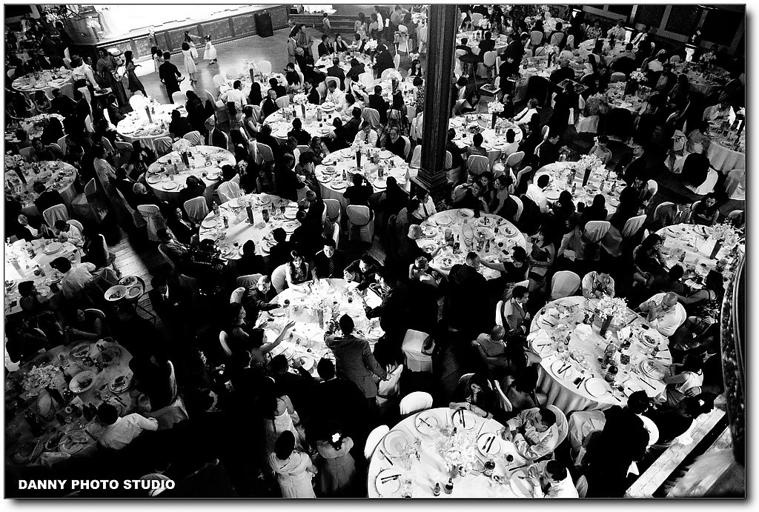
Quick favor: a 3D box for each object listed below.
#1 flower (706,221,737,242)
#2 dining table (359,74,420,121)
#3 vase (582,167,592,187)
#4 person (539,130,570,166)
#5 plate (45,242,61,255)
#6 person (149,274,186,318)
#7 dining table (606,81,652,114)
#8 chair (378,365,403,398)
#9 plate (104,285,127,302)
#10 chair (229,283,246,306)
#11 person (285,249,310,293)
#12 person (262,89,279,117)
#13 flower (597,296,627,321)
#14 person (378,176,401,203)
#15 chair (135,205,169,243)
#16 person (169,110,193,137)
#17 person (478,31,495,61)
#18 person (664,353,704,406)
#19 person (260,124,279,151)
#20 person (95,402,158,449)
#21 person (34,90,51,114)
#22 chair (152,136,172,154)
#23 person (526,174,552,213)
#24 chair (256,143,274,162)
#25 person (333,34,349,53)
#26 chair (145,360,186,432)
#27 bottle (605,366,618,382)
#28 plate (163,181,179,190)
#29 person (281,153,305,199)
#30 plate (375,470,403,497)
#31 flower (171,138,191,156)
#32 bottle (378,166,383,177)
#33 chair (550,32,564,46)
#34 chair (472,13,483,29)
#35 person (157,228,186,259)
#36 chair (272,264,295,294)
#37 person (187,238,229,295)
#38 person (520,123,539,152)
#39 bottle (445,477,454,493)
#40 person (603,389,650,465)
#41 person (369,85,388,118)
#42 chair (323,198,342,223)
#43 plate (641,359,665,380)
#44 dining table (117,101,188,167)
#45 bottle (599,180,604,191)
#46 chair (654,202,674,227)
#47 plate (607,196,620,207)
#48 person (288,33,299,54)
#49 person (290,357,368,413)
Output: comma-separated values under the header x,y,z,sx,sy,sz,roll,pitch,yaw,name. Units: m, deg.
x,y,z,sx,sy,sz,roll,pitch,yaw,name
7.918,-0.521,12.476,0.479,0.488,0.204,21,3,31,flower
0.322,-5.236,19.088,2.177,0.751,2.079,4,50,6,dining table
5.351,-2.094,14.034,0.157,0.462,0.510,10,33,19,vase
5.029,-3.121,15.753,0.490,0.589,1.582,28,-2,13,person
-7.694,-0.177,12.715,0.284,0.094,0.283,33,50,32,plate
-4.614,0.864,11.761,0.679,0.926,0.500,-14,33,-19,person
8.242,-5.247,18.004,1.376,0.584,1.852,11,34,21,dining table
0.181,2.516,10.934,0.456,0.631,0.461,-26,56,-21,chair
-5.810,0.862,11.922,0.486,0.213,0.537,-16,34,-21,plate
-3.169,0.873,11.750,0.251,0.353,0.357,30,33,-34,chair
-1.873,0.370,12.172,0.548,1.241,0.616,-8,68,-8,person
-3.545,-4.948,17.652,0.339,1.146,0.423,13,47,5,person
4.737,1.034,11.034,0.461,0.406,0.456,14,61,31,flower
0.247,-1.676,13.864,0.508,0.716,0.211,1,8,10,person
-5.795,-0.778,13.911,0.748,1.221,0.391,13,34,23,chair
-6.068,-3.982,16.445,0.477,1.138,0.656,-20,74,-15,person
4.196,-8.201,21.349,0.631,0.941,0.997,3,32,9,person
5.800,2.279,10.482,0.790,0.831,0.312,-38,28,-6,person
-3.247,-3.428,15.742,0.548,0.738,1.138,-8,32,-9,person
-4.835,3.219,10.221,0.635,1.182,0.449,-28,83,-17,person
-11.854,-5.426,18.983,0.481,0.555,1.058,-20,35,-26,person
-6.614,-3.379,16.637,0.545,0.696,0.536,-2,66,-14,chair
4.123,-1.633,14.047,0.294,0.720,0.991,18,60,-41,person
-3.372,-3.024,15.864,0.442,0.586,0.507,13,64,2,chair
-1.612,-8.733,22.081,0.535,0.644,1.350,-5,31,-4,person
-4.219,2.886,11.128,0.885,0.449,1.238,-6,64,17,chair
4.534,2.293,10.583,0.195,0.209,0.324,18,37,30,bottle
-5.553,-1.849,14.352,0.253,0.035,0.253,32,48,33,plate
-2.380,-2.109,14.516,0.659,1.203,0.588,-25,37,-32,person
0.148,4.014,9.595,0.474,0.211,0.374,-1,31,3,plate
-5.586,-3.087,15.202,0.485,0.250,0.506,-28,56,-27,flower
0.025,-2.310,14.608,0.156,0.253,0.399,-1,31,3,bottle
7.132,-8.744,21.857,0.498,0.450,0.298,8,32,16,chair
4.352,-10.537,24.364,0.586,0.822,0.684,2,28,8,chair
-4.892,-0.252,12.731,0.613,0.803,0.337,33,73,15,person
-2.183,0.526,12.293,0.420,0.477,0.456,-28,85,-7,chair
-3.765,0.260,12.092,0.873,1.255,0.450,25,28,16,person
4.398,-3.444,15.746,0.185,0.757,0.789,17,14,-12,person
1.222,4.033,9.560,0.121,0.211,0.221,5,42,6,bottle
4.540,3.168,9.939,0.839,1.200,0.676,-16,33,-21,person
-0.017,-4.928,17.468,0.623,0.930,1.120,-12,32,-16,person
-1.230,-1.134,13.959,0.494,0.613,0.530,5,56,-2,chair
5.373,2.217,10.645,0.491,0.193,0.388,16,36,28,plate
-7.261,-4.236,16.993,2.151,0.576,2.200,1,54,-13,dining table
5.723,-1.814,14.034,0.098,0.109,0.392,17,54,17,bottle
7.119,-1.031,13.564,0.446,0.625,0.305,9,8,13,chair
5.833,-1.354,13.605,0.298,0.146,0.345,6,32,14,plate
-3.609,-8.860,22.660,0.352,0.466,1.083,-25,-3,-8,person
-1.055,2.583,10.673,1.517,1.031,0.549,10,33,20,person
